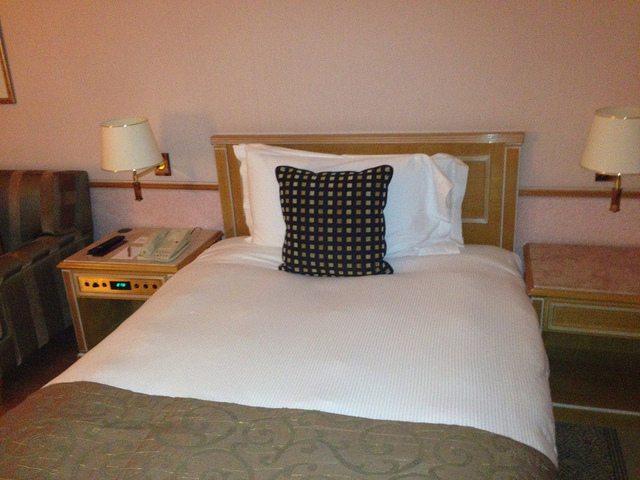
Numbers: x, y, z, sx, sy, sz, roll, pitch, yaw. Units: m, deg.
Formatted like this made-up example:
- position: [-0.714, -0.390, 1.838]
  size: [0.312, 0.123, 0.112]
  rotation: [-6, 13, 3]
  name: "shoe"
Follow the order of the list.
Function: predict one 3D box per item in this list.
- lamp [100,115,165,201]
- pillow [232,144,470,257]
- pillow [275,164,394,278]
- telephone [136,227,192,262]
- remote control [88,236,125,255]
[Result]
- position: [-1.222, -0.526, 3.107]
  size: [0.388, 0.509, 0.458]
  rotation: [13, 27, 29]
  name: "lamp"
- position: [0.076, -0.272, 2.891]
  size: [1.279, 0.523, 0.271]
  rotation: [-2, 3, -17]
  name: "pillow"
- position: [0.095, -0.100, 2.569]
  size: [0.681, 0.586, 0.249]
  rotation: [0, 3, 12]
  name: "pillow"
- position: [-1.005, 0.022, 3.100]
  size: [0.211, 0.087, 0.261]
  rotation: [1, 22, 10]
  name: "telephone"
- position: [-1.459, 0.033, 3.204]
  size: [0.092, 0.036, 0.189]
  rotation: [0, 18, 14]
  name: "remote control"
